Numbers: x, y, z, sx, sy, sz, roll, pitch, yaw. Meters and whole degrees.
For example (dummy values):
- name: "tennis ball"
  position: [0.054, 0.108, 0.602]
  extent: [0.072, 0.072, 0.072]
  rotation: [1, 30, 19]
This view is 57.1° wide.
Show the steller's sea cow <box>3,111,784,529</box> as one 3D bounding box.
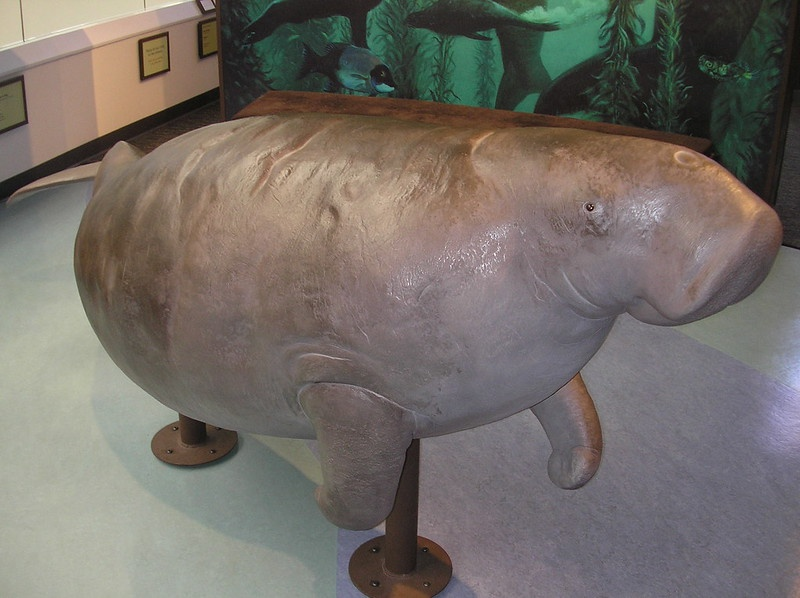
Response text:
- name: "steller's sea cow"
  position: [-0.003, -0.043, 1.303]
  extent: [1.123, 0.572, 0.562]
  rotation: [9, 23, 29]

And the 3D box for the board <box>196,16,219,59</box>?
- name: "board"
  position: [-1.108, -1.506, 4.232]
  extent: [0.089, 0.229, 0.182]
  rotation: [0, 36, 8]

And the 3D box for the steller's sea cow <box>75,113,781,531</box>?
- name: "steller's sea cow"
  position: [0.002, -0.002, 1.311]
  extent: [1.097, 0.555, 0.572]
  rotation: [10, 23, 28]
